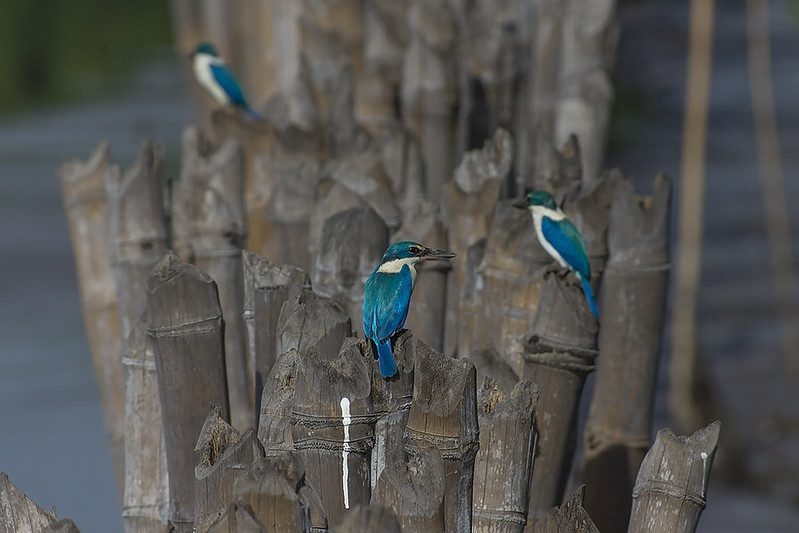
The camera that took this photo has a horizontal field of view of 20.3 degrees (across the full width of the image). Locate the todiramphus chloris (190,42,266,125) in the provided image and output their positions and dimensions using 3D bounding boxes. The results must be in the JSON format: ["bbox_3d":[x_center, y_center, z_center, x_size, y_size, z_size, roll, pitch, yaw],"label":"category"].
[{"bbox_3d":[-1.230,-1.303,15.856,0.471,0.588,0.199,4,-25,-8],"label":"todiramphus chloris"}]

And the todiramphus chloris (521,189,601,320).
[{"bbox_3d":[1.121,-0.136,15.304,0.435,0.922,0.244,-2,23,4],"label":"todiramphus chloris"}]

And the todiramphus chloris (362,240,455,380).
[{"bbox_3d":[-0.041,0.259,14.817,0.474,0.863,0.938,-1,2,13],"label":"todiramphus chloris"}]
